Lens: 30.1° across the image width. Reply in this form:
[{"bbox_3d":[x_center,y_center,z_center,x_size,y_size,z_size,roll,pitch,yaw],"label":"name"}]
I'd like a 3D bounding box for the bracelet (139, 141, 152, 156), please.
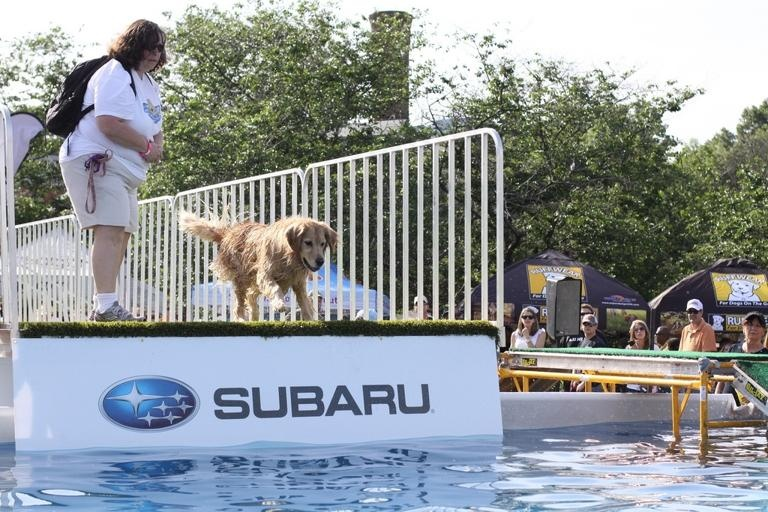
[{"bbox_3d":[-3.182,-1.437,19.092,0.060,0.171,0.171,34,36,15],"label":"bracelet"}]

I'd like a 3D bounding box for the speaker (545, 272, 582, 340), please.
[{"bbox_3d":[2.888,0.852,23.111,0.534,0.983,0.430,-1,-4,5],"label":"speaker"}]

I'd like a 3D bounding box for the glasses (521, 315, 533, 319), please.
[{"bbox_3d":[2.339,1.019,23.625,0.205,0.066,0.085,-3,-5,37],"label":"glasses"}]

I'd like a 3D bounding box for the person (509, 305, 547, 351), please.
[{"bbox_3d":[2.415,1.182,23.987,0.593,0.685,1.978,-1,-4,6],"label":"person"}]

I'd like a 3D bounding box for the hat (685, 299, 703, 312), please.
[{"bbox_3d":[4.980,0.747,23.005,0.281,0.221,0.414,0,-11,16],"label":"hat"}]

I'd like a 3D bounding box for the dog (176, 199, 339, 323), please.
[{"bbox_3d":[-2.016,0.152,20.923,0.927,1.431,3.451,1,2,-41],"label":"dog"}]
